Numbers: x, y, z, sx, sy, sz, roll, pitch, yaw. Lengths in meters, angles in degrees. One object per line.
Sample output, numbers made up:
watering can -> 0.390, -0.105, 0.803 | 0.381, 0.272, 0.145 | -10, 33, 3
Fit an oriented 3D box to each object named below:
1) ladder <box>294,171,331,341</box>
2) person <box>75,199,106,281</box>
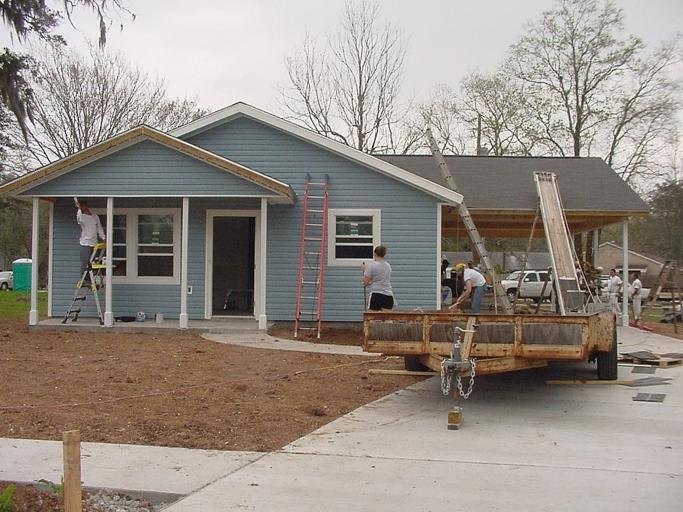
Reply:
ladder -> -0.710, -0.077, 16.825 | 0.765, 3.691, 1.363 | 1, 4, -1
person -> -5.634, -0.349, 16.155 | 0.625, 1.817, 1.072 | 0, 5, -18
